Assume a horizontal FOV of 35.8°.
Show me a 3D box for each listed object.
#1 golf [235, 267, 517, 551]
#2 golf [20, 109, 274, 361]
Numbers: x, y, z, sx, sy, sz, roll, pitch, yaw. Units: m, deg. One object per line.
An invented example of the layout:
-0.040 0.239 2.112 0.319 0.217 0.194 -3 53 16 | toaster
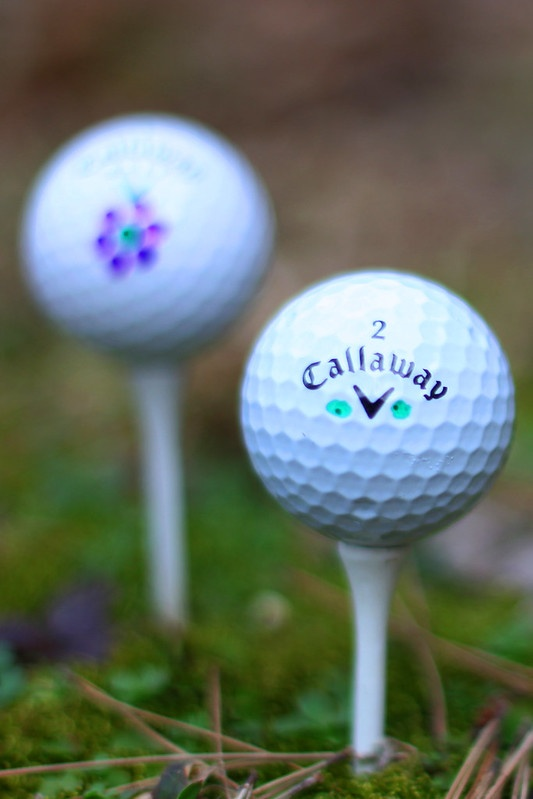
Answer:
0.109 0.012 0.962 0.338 0.287 0.296 3 1 7 | golf
-0.100 -0.216 1.174 0.338 0.312 0.334 -2 7 4 | golf
